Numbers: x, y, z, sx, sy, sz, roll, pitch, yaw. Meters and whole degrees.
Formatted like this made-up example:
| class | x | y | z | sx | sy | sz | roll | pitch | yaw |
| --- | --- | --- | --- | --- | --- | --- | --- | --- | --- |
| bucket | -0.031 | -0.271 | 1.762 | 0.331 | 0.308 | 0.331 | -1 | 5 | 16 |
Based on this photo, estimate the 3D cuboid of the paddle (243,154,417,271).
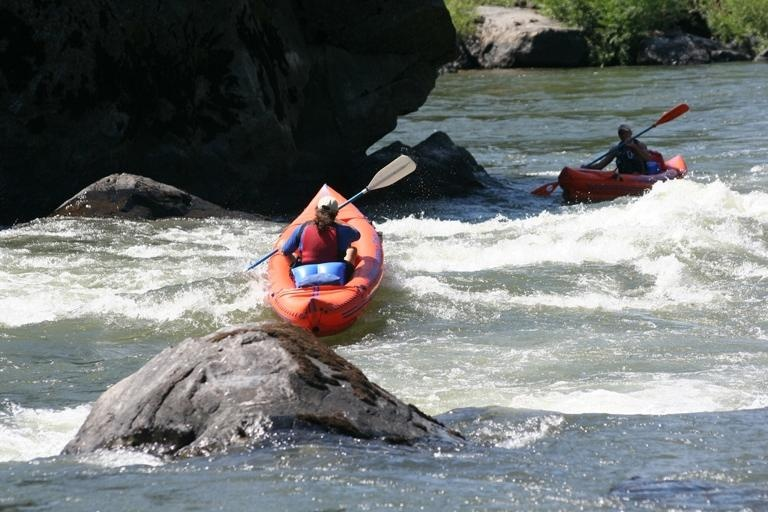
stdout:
| class | x | y | z | sx | sy | sz | roll | pitch | yaw |
| --- | --- | --- | --- | --- | --- | --- | --- | --- | --- |
| paddle | -0.971 | -0.721 | 24.952 | 4.309 | 0.178 | 0.575 | -27 | 46 | -16 |

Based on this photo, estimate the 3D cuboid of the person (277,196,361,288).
| class | x | y | z | sx | sy | sz | roll | pitch | yaw |
| --- | --- | --- | --- | --- | --- | --- | --- | --- | --- |
| person | -1.001 | 0.013 | 22.537 | 1.468 | 1.775 | 1.088 | 3 | 11 | -4 |

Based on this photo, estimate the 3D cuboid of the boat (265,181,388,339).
| class | x | y | z | sx | sy | sz | roll | pitch | yaw |
| --- | --- | --- | --- | --- | --- | --- | --- | --- | --- |
| boat | -0.772 | 0.444 | 22.748 | 1.572 | 0.728 | 2.551 | 1 | 38 | 6 |

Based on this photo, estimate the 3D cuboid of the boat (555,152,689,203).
| class | x | y | z | sx | sy | sz | roll | pitch | yaw |
| --- | --- | --- | --- | --- | --- | --- | --- | --- | --- |
| boat | 4.767 | -1.487 | 27.497 | 2.120 | 0.512 | 0.983 | -8 | 15 | -20 |
